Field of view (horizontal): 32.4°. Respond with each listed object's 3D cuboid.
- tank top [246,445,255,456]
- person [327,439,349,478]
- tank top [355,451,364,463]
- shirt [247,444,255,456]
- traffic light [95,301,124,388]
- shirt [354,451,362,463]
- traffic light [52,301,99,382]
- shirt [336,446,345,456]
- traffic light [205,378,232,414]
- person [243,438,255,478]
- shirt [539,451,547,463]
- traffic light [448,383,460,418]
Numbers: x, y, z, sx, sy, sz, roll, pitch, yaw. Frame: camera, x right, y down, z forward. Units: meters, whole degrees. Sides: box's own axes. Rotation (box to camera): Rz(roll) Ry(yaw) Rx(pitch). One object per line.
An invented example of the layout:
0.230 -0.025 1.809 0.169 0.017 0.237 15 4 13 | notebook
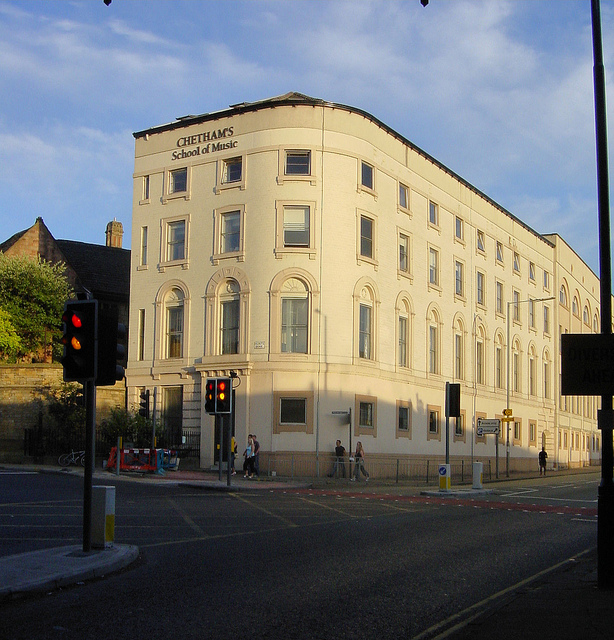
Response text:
-2.019 4.605 37.053 0.264 0.458 0.245 -6 -17 21 | tank top
1.206 5.136 39.104 0.709 1.412 0.935 4 -10 -17 | person
1.898 5.042 38.644 0.206 0.496 0.304 -2 -4 29 | tank top
-1.969 4.580 37.024 0.241 0.404 0.212 5 -26 -10 | shirt
-2.826 0.335 15.098 0.425 1.220 0.578 2 -9 -7 | traffic light
1.845 5.013 38.518 0.255 0.478 0.096 0 -2 26 | shirt
-3.234 0.308 15.041 0.503 1.162 0.401 3 -9 -15 | traffic light
1.203 4.884 39.015 0.359 0.488 0.233 0 -8 6 | shirt
-2.512 2.184 30.061 0.757 1.153 0.237 -1 -6 13 | traffic light
-2.059 4.917 37.343 0.388 1.388 0.960 1 -9 -3 | person
12.393 7.270 55.868 0.255 0.559 0.525 1 -10 0 | shirt
4.812 2.663 35.008 0.337 1.031 0.524 0 -9 4 | traffic light
